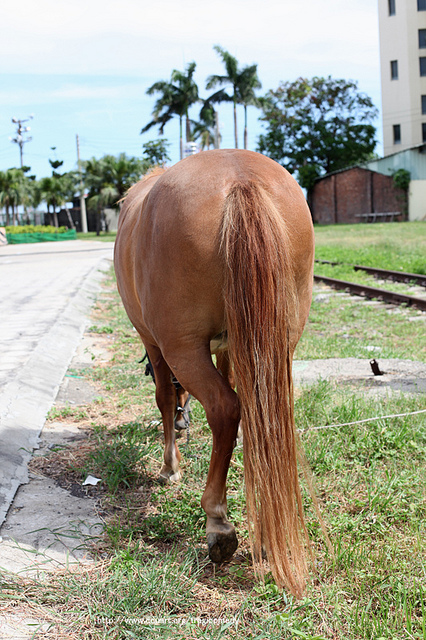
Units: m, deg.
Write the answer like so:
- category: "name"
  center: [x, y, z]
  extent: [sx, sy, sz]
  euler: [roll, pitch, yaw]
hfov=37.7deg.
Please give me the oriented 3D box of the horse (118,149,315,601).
- category: "horse"
  center: [0.110, 0.158, 2.617]
  extent: [0.904, 1.764, 0.570]
  euler: [4, 13, 34]
